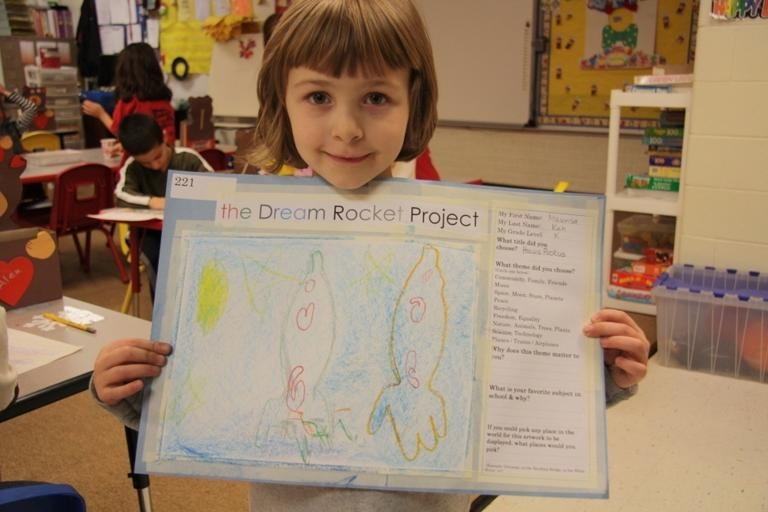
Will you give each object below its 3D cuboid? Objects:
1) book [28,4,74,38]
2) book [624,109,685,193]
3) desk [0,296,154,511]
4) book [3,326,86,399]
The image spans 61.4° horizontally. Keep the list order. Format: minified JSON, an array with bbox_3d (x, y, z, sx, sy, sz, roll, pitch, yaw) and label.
[{"bbox_3d":[-3.780,-2.668,7.484,0.498,0.496,0.372,-2,5,-15],"label":"book"},{"bbox_3d":[1.475,-0.552,3.427,0.091,0.398,0.382,6,6,1],"label":"book"},{"bbox_3d":[-1.154,0.538,2.252,0.529,0.505,0.465,16,27,13],"label":"desk"},{"bbox_3d":[-1.130,0.351,2.149,0.191,0.029,0.212,-9,23,-33],"label":"book"}]
